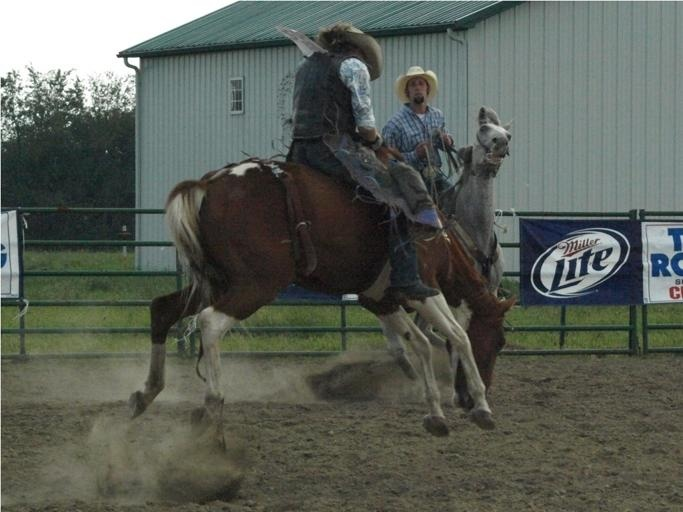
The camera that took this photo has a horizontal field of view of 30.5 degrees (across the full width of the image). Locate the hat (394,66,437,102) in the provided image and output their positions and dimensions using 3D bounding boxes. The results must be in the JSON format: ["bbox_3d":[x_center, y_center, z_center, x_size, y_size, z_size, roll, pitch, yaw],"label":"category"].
[{"bbox_3d":[1.028,-2.524,18.224,0.462,0.578,0.220,1,29,1],"label":"hat"}]
